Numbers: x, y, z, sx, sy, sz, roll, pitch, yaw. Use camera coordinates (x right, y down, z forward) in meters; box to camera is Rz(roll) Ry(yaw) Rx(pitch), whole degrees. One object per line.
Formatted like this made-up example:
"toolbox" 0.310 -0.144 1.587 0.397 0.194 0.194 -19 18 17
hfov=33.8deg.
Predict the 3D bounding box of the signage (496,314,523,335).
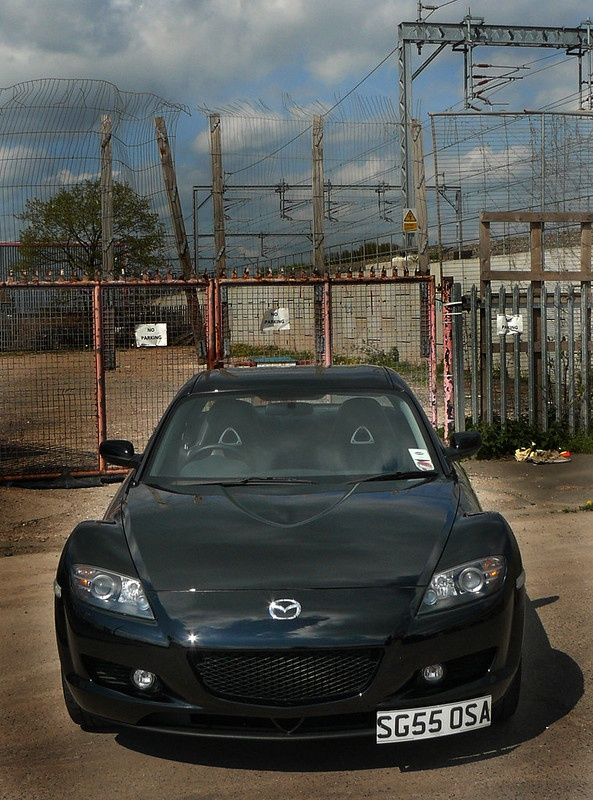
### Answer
"signage" 2.405 -0.861 11.094 0.235 0.213 0.039 2 5 4

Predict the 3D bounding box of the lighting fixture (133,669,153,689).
"lighting fixture" -0.506 0.934 3.256 0.074 0.079 0.027 -1 -4 8

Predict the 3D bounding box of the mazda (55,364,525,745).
"mazda" 0.055 0.504 4.201 1.135 0.851 2.114 -1 -3 2

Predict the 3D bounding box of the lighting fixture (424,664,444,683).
"lighting fixture" 0.454 0.918 3.248 0.064 0.073 0.027 -6 19 -10

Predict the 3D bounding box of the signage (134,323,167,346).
"signage" -1.514 -0.681 10.096 0.228 0.175 0.031 -1 4 -13

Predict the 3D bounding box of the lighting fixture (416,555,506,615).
"lighting fixture" 0.563 0.630 3.371 0.356 0.118 0.083 -21 -8 -11

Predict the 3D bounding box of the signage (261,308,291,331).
"signage" -0.222 -0.858 10.401 0.238 0.209 0.025 1 -1 -1
